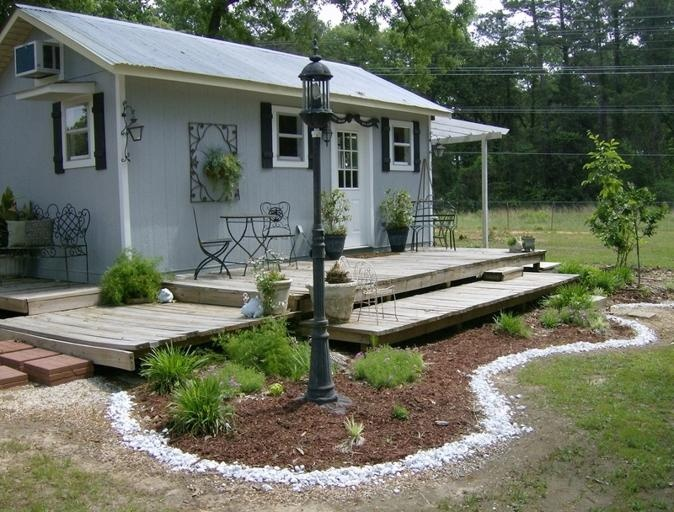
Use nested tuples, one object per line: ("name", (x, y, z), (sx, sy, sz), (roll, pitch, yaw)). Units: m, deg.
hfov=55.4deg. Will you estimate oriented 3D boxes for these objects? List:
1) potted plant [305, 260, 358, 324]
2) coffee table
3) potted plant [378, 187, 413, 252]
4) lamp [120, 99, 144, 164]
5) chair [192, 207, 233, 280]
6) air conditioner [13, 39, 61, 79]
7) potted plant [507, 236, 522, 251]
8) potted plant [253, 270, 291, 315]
("potted plant", (-0.008, 0.458, 7.906), (0.577, 0.670, 0.607), (-1, 5, 18))
("coffee table", (-1.337, -0.304, 10.532), (0.796, 1.008, 0.860), (-16, 0, 3))
("potted plant", (1.226, -0.676, 13.100), (0.590, 1.195, 0.633), (-2, 6, 6))
("lamp", (-2.918, -1.752, 9.117), (0.253, 0.788, 0.212), (-2, 0, -34))
("chair", (-1.923, -0.219, 9.873), (0.610, 1.088, 0.656), (0, -2, -2))
("air conditioner", (-4.620, -3.010, 9.856), (0.681, 0.475, 0.395), (2, 7, 34))
("potted plant", (3.562, -0.259, 12.788), (0.251, 0.304, 0.277), (-1, -2, -3))
("potted plant", (-0.790, 0.429, 7.794), (0.442, 0.524, 0.478), (0, -1, -5))
